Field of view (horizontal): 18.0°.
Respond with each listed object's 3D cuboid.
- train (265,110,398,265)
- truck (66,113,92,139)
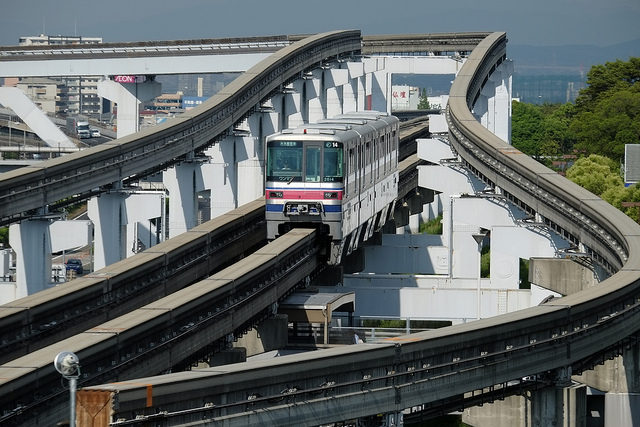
[{"bbox_3d":[1.175,-1.578,110.628,3.946,7.168,12.975,3,10,21],"label":"train"},{"bbox_3d":[-19.402,-7.047,164.252,1.891,1.829,6.991,-3,5,-14],"label":"truck"}]
